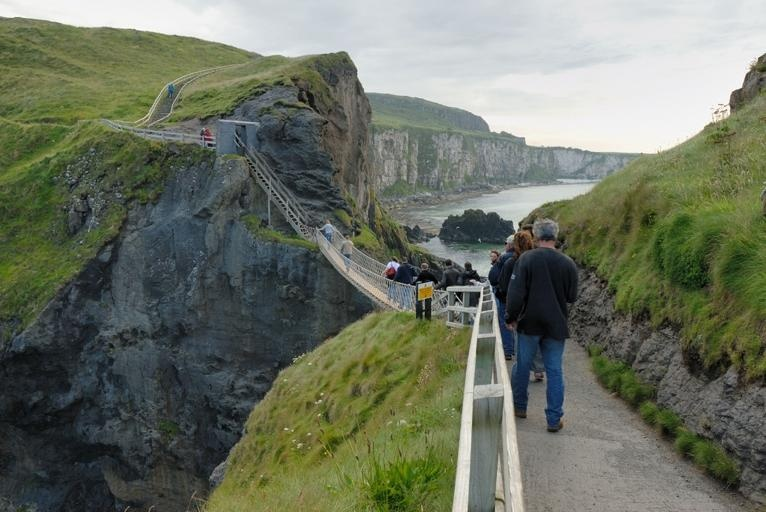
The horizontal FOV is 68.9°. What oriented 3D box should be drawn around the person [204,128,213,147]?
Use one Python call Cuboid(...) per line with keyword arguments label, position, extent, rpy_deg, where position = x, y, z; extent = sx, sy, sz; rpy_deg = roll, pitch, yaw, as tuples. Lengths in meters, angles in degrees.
Cuboid(label="person", position=(-10.714, -7.228, 34.351), extent=(0.592, 1.155, 1.303), rpy_deg=(-4, 9, -16))
